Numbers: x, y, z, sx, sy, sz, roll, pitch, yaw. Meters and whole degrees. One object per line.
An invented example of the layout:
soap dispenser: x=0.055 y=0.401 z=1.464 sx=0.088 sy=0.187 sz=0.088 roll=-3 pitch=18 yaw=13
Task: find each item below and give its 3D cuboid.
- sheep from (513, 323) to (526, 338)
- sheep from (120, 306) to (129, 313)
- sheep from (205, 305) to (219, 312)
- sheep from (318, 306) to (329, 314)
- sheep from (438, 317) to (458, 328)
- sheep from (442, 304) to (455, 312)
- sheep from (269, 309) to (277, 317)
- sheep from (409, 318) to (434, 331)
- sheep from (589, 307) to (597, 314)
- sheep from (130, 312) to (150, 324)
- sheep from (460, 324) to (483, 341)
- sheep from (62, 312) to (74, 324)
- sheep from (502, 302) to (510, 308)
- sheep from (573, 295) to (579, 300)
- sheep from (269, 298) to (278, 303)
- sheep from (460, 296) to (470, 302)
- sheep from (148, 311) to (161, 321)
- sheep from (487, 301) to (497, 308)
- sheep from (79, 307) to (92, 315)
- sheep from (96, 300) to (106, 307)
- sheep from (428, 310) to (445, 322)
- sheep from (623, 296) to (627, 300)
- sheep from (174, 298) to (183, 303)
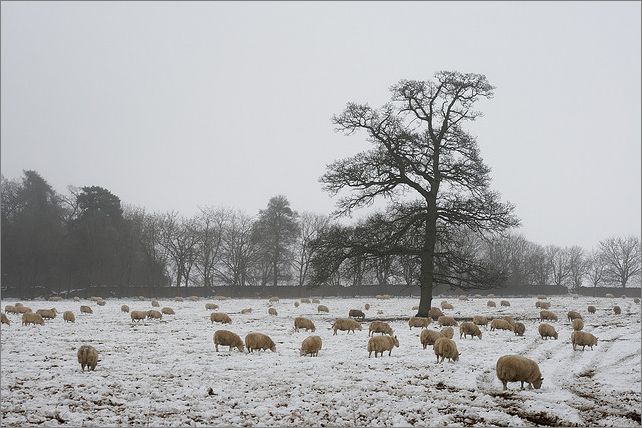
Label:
sheep: x=14.606 y=8.466 z=64.380 sx=0.744 sy=1.009 sz=0.752 roll=-1 pitch=-8 yaw=7
sheep: x=-17.078 y=8.182 z=75.600 sx=0.749 sy=0.655 sz=1.488 roll=2 pitch=-9 yaw=-13
sheep: x=-9.882 y=8.307 z=78.038 sx=1.279 sy=0.718 sz=0.443 roll=4 pitch=-5 yaw=-20
sheep: x=0.134 y=8.291 z=76.311 sx=0.996 sy=0.708 sz=0.441 roll=2 pitch=-3 yaw=-2
sheep: x=9.499 y=8.148 z=66.540 sx=1.213 sy=0.844 sz=1.369 roll=-5 pitch=-10 yaw=33
sheep: x=11.272 y=8.258 z=78.120 sx=0.950 sy=0.716 sz=1.085 roll=-1 pitch=-8 yaw=8
sheep: x=-4.194 y=8.336 z=74.795 sx=0.816 sy=0.700 sz=1.650 roll=1 pitch=-8 yaw=-4
sheep: x=7.398 y=8.302 z=66.579 sx=1.471 sy=0.914 sz=0.664 roll=1 pitch=-8 yaw=-4
sheep: x=23.330 y=8.223 z=75.216 sx=0.571 sy=0.701 sz=1.599 roll=-2 pitch=-9 yaw=17
sheep: x=-14.577 y=8.167 z=69.726 sx=0.995 sy=0.951 sz=1.849 roll=-4 pitch=-9 yaw=29
sheep: x=10.845 y=8.464 z=63.525 sx=1.481 sy=1.216 sz=0.574 roll=-1 pitch=-8 yaw=9
sheep: x=-19.915 y=8.043 z=68.615 sx=0.831 sy=0.905 sz=1.393 roll=3 pitch=-9 yaw=-16
sheep: x=17.454 y=8.482 z=82.474 sx=0.839 sy=0.600 sz=0.369 roll=-8 pitch=18 yaw=4
sheep: x=27.745 y=9.050 z=95.358 sx=0.378 sy=0.796 sz=1.482 roll=-2 pitch=-14 yaw=20
sheep: x=-4.652 y=8.542 z=87.083 sx=1.244 sy=0.708 sz=0.349 roll=1 pitch=-8 yaw=-2
sheep: x=14.979 y=8.730 z=90.439 sx=1.373 sy=0.784 sz=0.411 roll=2 pitch=2 yaw=-20
sheep: x=-13.638 y=8.142 z=70.810 sx=1.164 sy=0.722 sz=0.665 roll=1 pitch=-8 yaw=-7
sheep: x=15.859 y=8.391 z=81.467 sx=0.763 sy=0.484 sz=0.386 roll=9 pitch=-1 yaw=20
sheep: x=-19.830 y=7.984 z=73.331 sx=0.880 sy=0.695 sz=1.083 roll=4 pitch=-9 yaw=-24
sheep: x=-20.635 y=8.243 z=81.177 sx=0.442 sy=0.495 sz=0.882 roll=6 pitch=-1 yaw=-43
sheep: x=9.249 y=8.123 z=70.663 sx=0.677 sy=0.429 sz=1.096 roll=0 pitch=-1 yaw=42
sheep: x=33.363 y=9.138 z=96.189 sx=0.365 sy=0.294 sz=0.380 roll=-1 pitch=-6 yaw=-4
sheep: x=-14.562 y=8.663 z=88.497 sx=0.880 sy=0.534 sz=0.329 roll=2 pitch=8 yaw=-3
